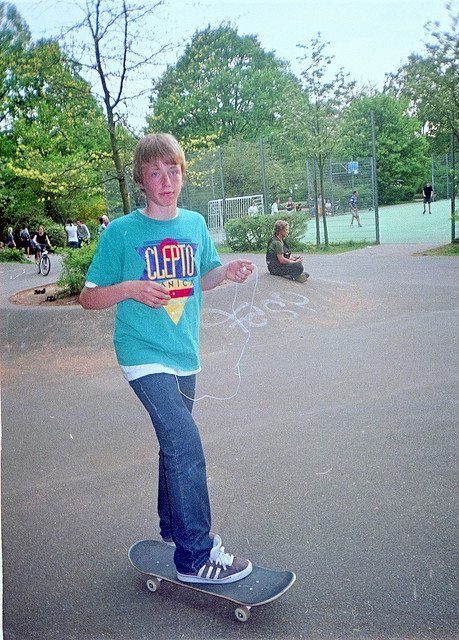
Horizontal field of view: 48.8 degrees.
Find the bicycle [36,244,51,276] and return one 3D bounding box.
[{"bbox_3d":[-6.235,-1.933,16.871,0.541,0.728,1.169,5,9,-28],"label":"bicycle"}]

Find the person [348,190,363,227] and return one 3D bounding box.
[{"bbox_3d":[4.211,-3.783,17.098,0.419,1.239,0.389,4,16,26],"label":"person"}]

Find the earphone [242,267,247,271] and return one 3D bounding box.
[{"bbox_3d":[0.066,-0.234,2.296,0.020,0.021,0.005,5,-4,-10],"label":"earphone"}]

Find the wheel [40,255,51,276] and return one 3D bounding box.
[{"bbox_3d":[-6.108,-1.826,16.654,0.241,0.624,0.805,-11,16,-27],"label":"wheel"}]

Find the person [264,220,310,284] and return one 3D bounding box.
[{"bbox_3d":[1.041,-1.320,9.675,0.633,1.113,0.939,-5,14,-5],"label":"person"}]

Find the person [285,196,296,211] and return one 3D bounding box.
[{"bbox_3d":[2.380,-4.657,19.976,0.323,0.502,1.011,-3,15,0],"label":"person"}]

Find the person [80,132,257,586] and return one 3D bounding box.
[{"bbox_3d":[-0.125,0.091,2.083,0.667,1.710,0.754,-17,19,-42],"label":"person"}]

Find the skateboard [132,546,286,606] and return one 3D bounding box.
[{"bbox_3d":[-0.100,1.012,1.973,0.611,0.115,0.169,8,18,30],"label":"skateboard"}]

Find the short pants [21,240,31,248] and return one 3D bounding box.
[{"bbox_3d":[-10.166,-3.725,25.248,0.291,0.370,0.523,-4,8,-36],"label":"short pants"}]

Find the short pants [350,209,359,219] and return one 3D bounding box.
[{"bbox_3d":[4.221,-3.644,17.169,0.122,0.278,0.357,-11,16,-27],"label":"short pants"}]
